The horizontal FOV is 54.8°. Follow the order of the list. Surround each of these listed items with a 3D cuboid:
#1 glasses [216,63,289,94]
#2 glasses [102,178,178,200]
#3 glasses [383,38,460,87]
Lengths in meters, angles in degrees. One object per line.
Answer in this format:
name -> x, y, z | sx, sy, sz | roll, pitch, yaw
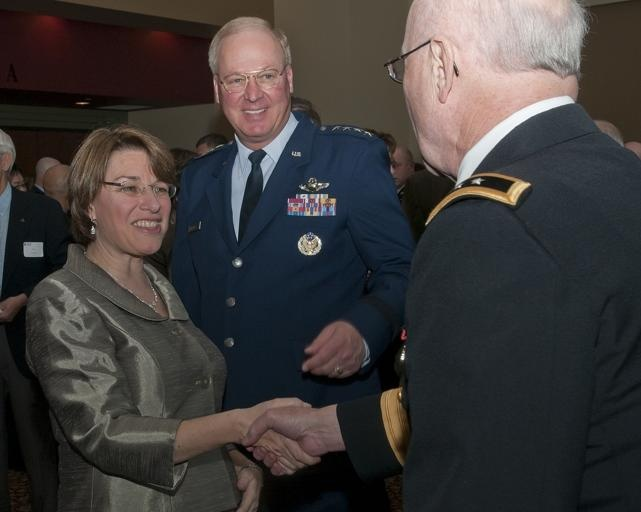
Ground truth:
glasses -> -0.220, -0.567, 1.992 | 0.198, 0.090, 0.092 | 1, 17, -8
glasses -> -0.513, -0.193, 1.763 | 0.198, 0.056, 0.056 | -11, 22, -41
glasses -> 0.205, -0.402, 1.306 | 0.143, 0.039, 0.141 | -28, -11, 30
